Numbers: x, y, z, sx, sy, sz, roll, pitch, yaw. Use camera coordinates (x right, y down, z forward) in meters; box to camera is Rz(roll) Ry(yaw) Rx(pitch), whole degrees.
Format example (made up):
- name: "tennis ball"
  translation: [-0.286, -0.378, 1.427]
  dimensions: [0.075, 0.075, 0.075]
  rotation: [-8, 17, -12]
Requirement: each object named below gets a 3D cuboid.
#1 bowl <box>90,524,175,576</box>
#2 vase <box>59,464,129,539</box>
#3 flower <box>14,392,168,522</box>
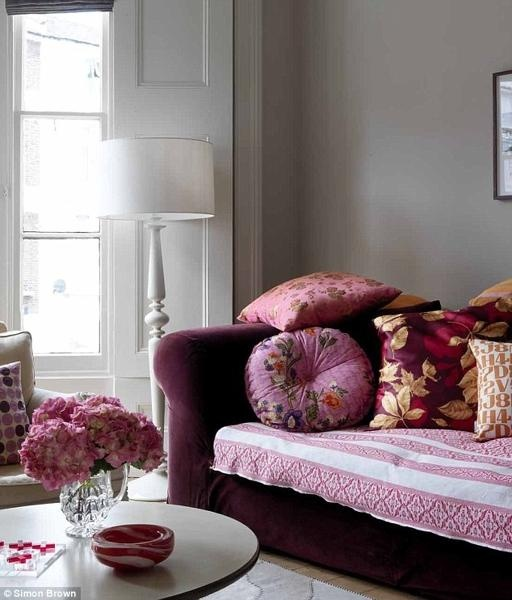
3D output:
- name: "bowl"
  translation: [-0.220, 0.445, 1.084]
  dimensions: [0.095, 0.034, 0.093]
  rotation: [1, 0, 0]
- name: "vase"
  translation: [-0.329, 0.400, 1.224]
  dimensions: [0.151, 0.139, 0.093]
  rotation: [2, -1, -26]
- name: "flower"
  translation: [-0.305, 0.277, 1.180]
  dimensions: [0.248, 0.196, 0.247]
  rotation: [-1, -1, -42]
